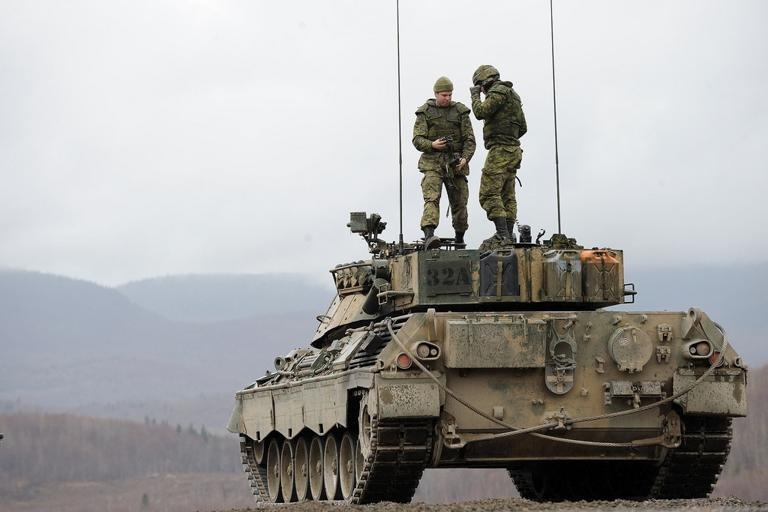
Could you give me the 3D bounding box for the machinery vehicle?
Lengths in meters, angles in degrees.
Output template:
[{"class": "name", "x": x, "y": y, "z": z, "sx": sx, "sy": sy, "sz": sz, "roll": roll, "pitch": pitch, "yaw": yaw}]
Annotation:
[{"class": "machinery vehicle", "x": 1.642, "y": 2.638, "z": 34.234, "sx": 5.838, "sy": 5.361, "sz": 9.671, "roll": 0, "pitch": -5, "yaw": -16}]
